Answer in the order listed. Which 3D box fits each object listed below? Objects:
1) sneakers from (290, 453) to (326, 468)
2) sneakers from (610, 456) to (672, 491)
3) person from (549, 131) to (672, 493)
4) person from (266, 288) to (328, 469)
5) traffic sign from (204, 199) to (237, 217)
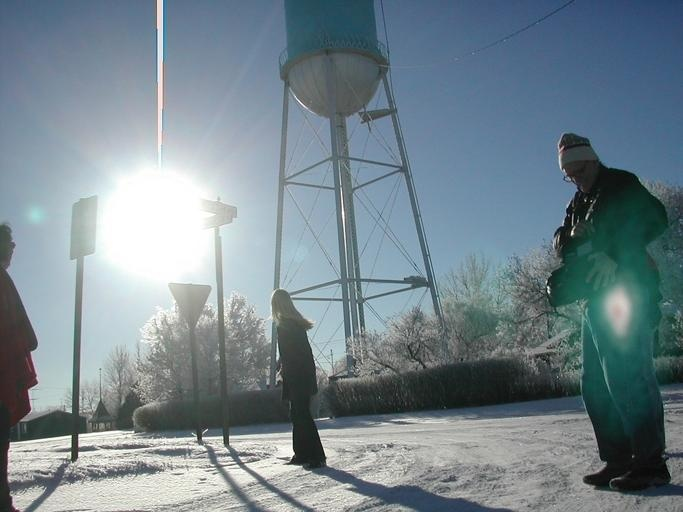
[{"bbox_3d":[-0.401,2.197,5.465,0.567,0.113,0.277,-16,-17,34],"label":"sneakers"},{"bbox_3d":[1.962,1.424,3.337,0.380,0.176,0.169,-8,-13,9],"label":"sneakers"},{"bbox_3d":[1.948,0.290,3.674,0.814,2.542,0.475,-10,-13,30],"label":"person"},{"bbox_3d":[-0.462,1.305,5.759,0.430,1.989,0.739,6,-15,-40],"label":"person"},{"bbox_3d":[-2.085,-0.834,8.670,0.499,0.340,0.332,-5,-12,0],"label":"traffic sign"}]
